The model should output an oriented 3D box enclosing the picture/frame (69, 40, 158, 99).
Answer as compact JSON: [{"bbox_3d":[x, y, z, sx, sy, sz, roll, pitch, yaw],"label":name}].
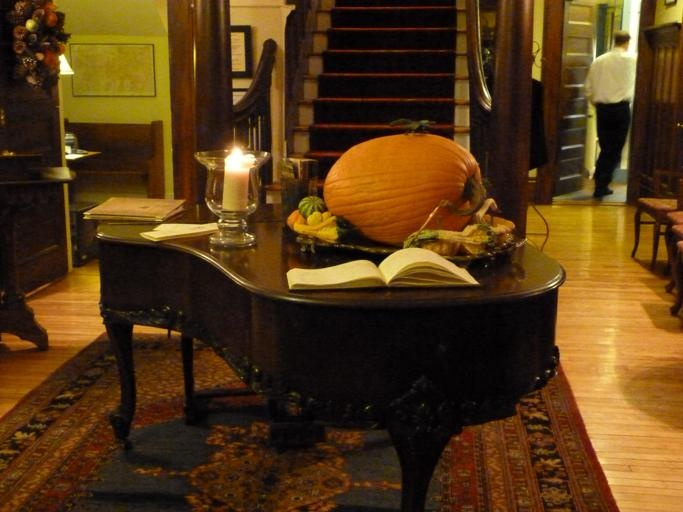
[{"bbox_3d":[-2.849,-2.371,7.561,1.476,0.773,0.033,1,17,-1],"label":"picture/frame"}]

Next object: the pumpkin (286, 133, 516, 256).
[{"bbox_3d":[0.164,-0.122,1.857,0.602,0.257,0.382,-10,55,-4],"label":"pumpkin"}]

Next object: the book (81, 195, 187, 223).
[{"bbox_3d":[-0.814,-0.185,2.429,0.353,0.057,0.397,-1,15,-8],"label":"book"}]

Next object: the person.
[{"bbox_3d":[3.504,-1.839,7.981,0.613,2.149,0.492,7,20,17],"label":"person"}]

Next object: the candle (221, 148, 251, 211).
[{"bbox_3d":[-0.345,-0.239,1.985,0.083,0.175,0.091,5,19,13],"label":"candle"}]

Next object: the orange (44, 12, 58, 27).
[{"bbox_3d":[-2.009,-1.634,4.178,0.075,0.077,0.087,-4,7,-8],"label":"orange"}]
